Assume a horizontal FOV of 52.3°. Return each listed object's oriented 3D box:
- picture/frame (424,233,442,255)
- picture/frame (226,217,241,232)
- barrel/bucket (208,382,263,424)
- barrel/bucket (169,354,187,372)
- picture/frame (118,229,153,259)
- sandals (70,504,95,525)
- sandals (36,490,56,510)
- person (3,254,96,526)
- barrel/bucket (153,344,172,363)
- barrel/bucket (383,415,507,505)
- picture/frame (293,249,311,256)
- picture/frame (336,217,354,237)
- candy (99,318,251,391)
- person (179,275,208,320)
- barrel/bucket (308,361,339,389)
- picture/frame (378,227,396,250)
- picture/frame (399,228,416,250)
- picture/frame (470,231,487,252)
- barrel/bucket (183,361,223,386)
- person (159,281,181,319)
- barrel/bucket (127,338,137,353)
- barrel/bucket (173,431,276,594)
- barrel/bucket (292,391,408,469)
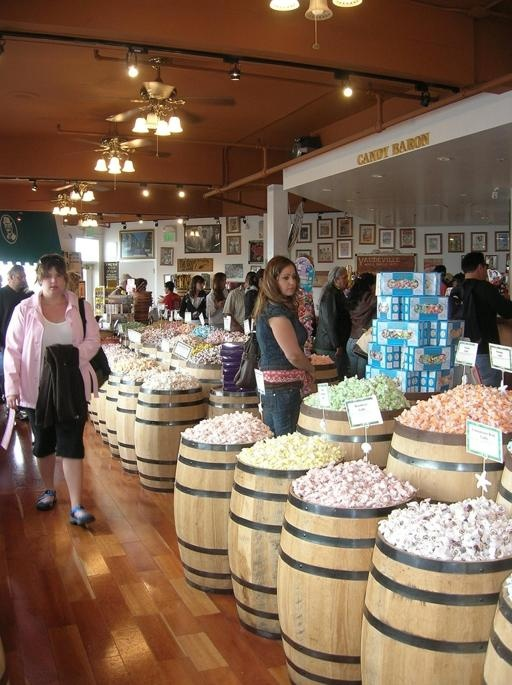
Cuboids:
[{"bbox_3d":[4.647,-2.637,13.652,0.588,0.768,0.076,0,5,14],"label":"picture/frame"},{"bbox_3d":[-0.659,-3.638,15.866,0.467,0.528,0.057,-1,-5,20],"label":"picture/frame"},{"bbox_3d":[-0.142,0.380,3.187,0.208,0.197,0.207,-1,-5,0],"label":"barrel/bucket"},{"bbox_3d":[-0.681,0.158,4.535,0.166,0.159,0.165,0,-11,0],"label":"barrel/bucket"},{"bbox_3d":[-4.076,-3.452,17.966,1.135,0.800,0.044,2,1,29],"label":"picture/frame"},{"bbox_3d":[-1.015,1.008,3.059,0.070,0.096,0.194,-6,-11,-31],"label":"sandals"},{"bbox_3d":[-1.351,1.008,3.373,0.073,0.072,0.161,-1,-9,-6],"label":"sandals"},{"bbox_3d":[-1.205,0.264,3.130,0.524,1.582,0.456,-1,2,6],"label":"person"},{"bbox_3d":[-0.874,0.088,4.904,0.155,0.147,0.154,1,-2,0],"label":"barrel/bucket"},{"bbox_3d":[0.581,0.333,1.593,0.240,0.231,0.239,3,-2,0],"label":"barrel/bucket"},{"bbox_3d":[1.341,-2.570,14.782,0.295,0.149,0.387,0,-1,6],"label":"picture/frame"},{"bbox_3d":[2.446,-3.205,14.252,0.588,0.808,0.061,1,1,16],"label":"picture/frame"},{"bbox_3d":[-0.765,0.041,4.839,0.983,0.926,0.965,0,-1,-11],"label":"candy"},{"bbox_3d":[-1.049,-0.789,8.684,0.456,0.768,1.171,-2,2,-8],"label":"person"},{"bbox_3d":[0.505,0.229,3.827,0.202,0.191,0.196,-1,-8,0],"label":"barrel/bucket"},{"bbox_3d":[3.518,-2.831,13.934,0.586,0.798,0.083,1,9,21],"label":"picture/frame"},{"bbox_3d":[4.036,-2.808,13.824,0.578,0.763,0.054,0,4,18],"label":"picture/frame"},{"bbox_3d":[5.703,-2.612,13.337,0.395,0.552,0.156,0,2,22],"label":"picture/frame"},{"bbox_3d":[-0.387,0.223,3.904,0.188,0.178,0.187,0,-5,0],"label":"barrel/bucket"},{"bbox_3d":[-1.814,-0.967,11.276,0.337,0.787,0.717,-2,2,-10],"label":"person"},{"bbox_3d":[-1.391,0.020,5.894,0.140,0.139,0.137,-1,-13,0],"label":"barrel/bucket"},{"bbox_3d":[-0.109,0.715,2.351,0.490,0.660,0.478,-3,2,0],"label":"barrel/bucket"},{"bbox_3d":[0.363,0.348,2.139,0.276,0.256,0.274,-1,-4,0],"label":"barrel/bucket"}]
